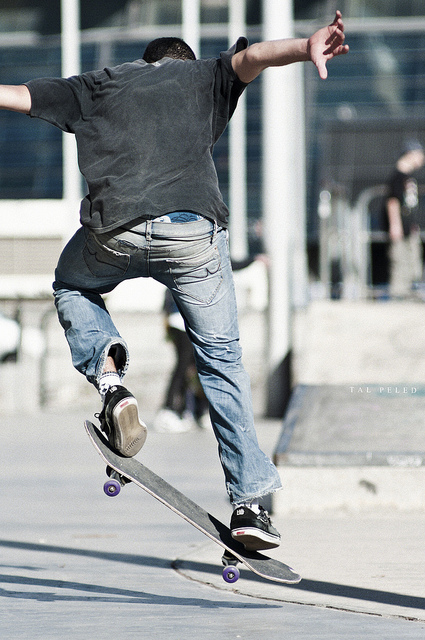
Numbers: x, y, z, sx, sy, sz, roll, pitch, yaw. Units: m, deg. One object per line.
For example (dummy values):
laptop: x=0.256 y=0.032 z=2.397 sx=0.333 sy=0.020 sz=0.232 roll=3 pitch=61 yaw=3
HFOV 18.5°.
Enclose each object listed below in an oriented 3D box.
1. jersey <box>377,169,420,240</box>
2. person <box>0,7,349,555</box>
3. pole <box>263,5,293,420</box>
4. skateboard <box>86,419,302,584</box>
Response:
jersey: x=1.625 y=-1.018 z=11.427 sx=0.359 sy=0.598 sz=0.655 roll=-1 pitch=3 yaw=-17
person: x=-0.176 y=-0.100 z=5.058 sx=1.177 sy=2.018 sz=0.482 roll=0 pitch=3 yaw=9
pole: x=0.607 y=-0.687 z=11.913 sx=0.255 sy=3.189 sz=0.214 roll=0 pitch=3 yaw=0
skateboard: x=-0.093 y=0.890 z=6.231 sx=0.882 sy=0.131 sz=0.217 roll=40 pitch=1 yaw=-5
